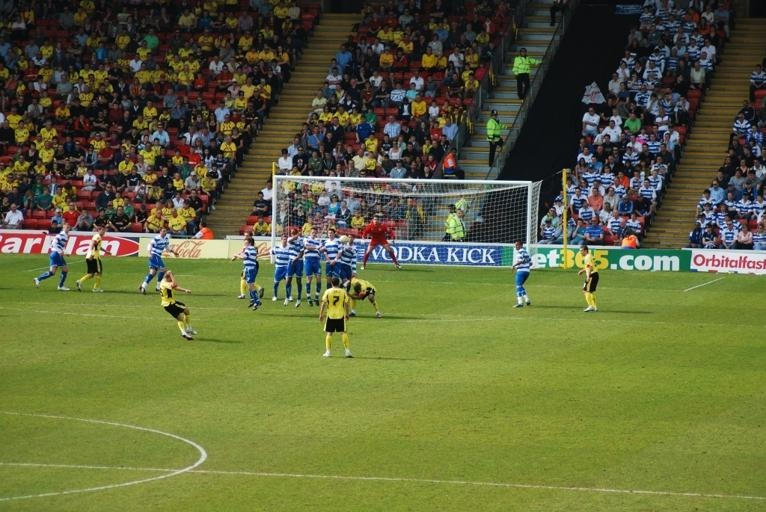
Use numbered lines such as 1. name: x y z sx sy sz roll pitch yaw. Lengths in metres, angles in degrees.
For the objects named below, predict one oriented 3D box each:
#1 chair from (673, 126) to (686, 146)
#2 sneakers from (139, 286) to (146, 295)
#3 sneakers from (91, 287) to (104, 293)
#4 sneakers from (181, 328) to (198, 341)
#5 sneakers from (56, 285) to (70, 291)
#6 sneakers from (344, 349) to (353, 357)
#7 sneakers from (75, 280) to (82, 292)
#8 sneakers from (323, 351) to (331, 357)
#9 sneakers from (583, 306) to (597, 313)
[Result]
1. chair: 12.514 -5.142 52.736 0.723 0.787 0.850 5 8 9
2. sneakers: -8.656 1.189 44.350 0.196 0.203 0.477 4 1 10
3. sneakers: -10.356 1.230 44.445 0.444 0.162 0.161 1 2 1
4. sneakers: -5.981 2.343 37.493 0.611 0.247 0.193 10 16 3
5. sneakers: -11.631 1.141 44.600 0.501 0.171 0.166 0 24 -5
6. sneakers: -1.112 2.789 35.890 0.308 0.259 0.136 -8 20 -13
7. sneakers: -11.140 1.077 44.802 0.156 0.400 0.208 33 52 30
8. sneakers: -1.689 2.825 35.849 0.116 0.165 0.259 0 10 -19
9. sneakers: 6.945 1.756 41.770 0.188 0.191 0.452 4 -5 -39
